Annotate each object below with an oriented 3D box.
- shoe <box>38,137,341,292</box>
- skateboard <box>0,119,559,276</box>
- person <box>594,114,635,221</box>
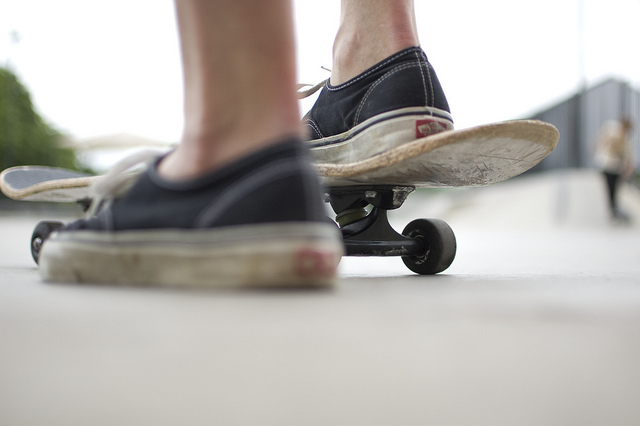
[{"bbox_3d":[-0.233,0.001,0.950,0.580,0.216,0.217,-2,0,30],"label":"shoe"},{"bbox_3d":[-0.393,-0.031,1.489,1.824,0.296,0.490,1,3,30],"label":"skateboard"},{"bbox_3d":[3.814,-0.617,7.609,0.461,1.163,2.036,5,14,24],"label":"person"}]
